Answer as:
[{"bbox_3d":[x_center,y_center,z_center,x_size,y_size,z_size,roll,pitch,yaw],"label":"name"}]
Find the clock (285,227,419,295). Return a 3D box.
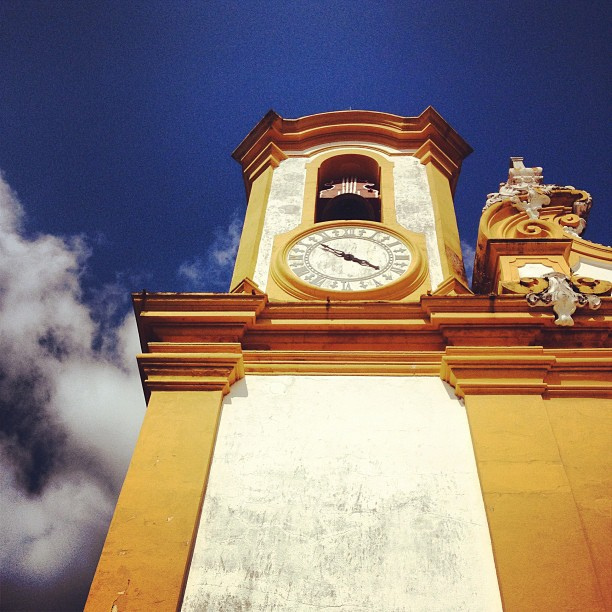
[{"bbox_3d":[0.716,-0.727,9.799,1.407,1.391,0.147,-16,-56,-25],"label":"clock"}]
